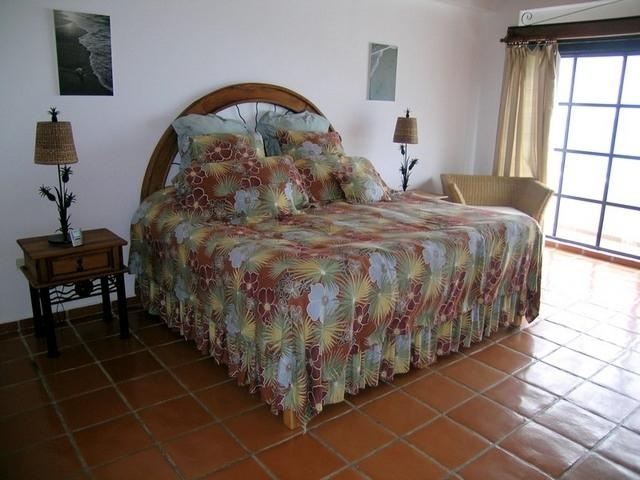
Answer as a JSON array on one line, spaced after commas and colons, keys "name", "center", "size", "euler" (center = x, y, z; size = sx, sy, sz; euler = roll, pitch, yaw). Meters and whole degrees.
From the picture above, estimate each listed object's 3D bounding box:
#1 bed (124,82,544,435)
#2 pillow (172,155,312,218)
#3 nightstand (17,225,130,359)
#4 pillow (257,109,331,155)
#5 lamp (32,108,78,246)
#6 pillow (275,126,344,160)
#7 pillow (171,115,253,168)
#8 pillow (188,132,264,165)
[{"name": "bed", "center": [-0.144, 0.045, 3.385], "size": [1.963, 1.521, 1.932], "euler": [-14, 21, -39]}, {"name": "pillow", "center": [-0.582, -0.370, 3.383], "size": [0.793, 0.504, 0.220], "euler": [-12, -22, -21]}, {"name": "nightstand", "center": [-1.756, 0.381, 3.456], "size": [0.635, 0.759, 0.576], "euler": [-10, 14, -43]}, {"name": "pillow", "center": [-0.255, -1.026, 4.307], "size": [0.504, 0.458, 0.163], "euler": [-15, -17, -20]}, {"name": "lamp", "center": [-1.856, -0.472, 3.332], "size": [0.266, 0.897, 0.516], "euler": [-11, 21, -30]}, {"name": "pillow", "center": [-0.088, -0.851, 4.073], "size": [0.448, 0.139, 0.295], "euler": [-8, 57, -23]}, {"name": "pillow", "center": [-0.959, -0.919, 3.836], "size": [0.440, 0.141, 0.506], "euler": [-14, 41, -25]}, {"name": "pillow", "center": [-0.735, -0.726, 3.655], "size": [0.486, 0.127, 0.300], "euler": [-6, 51, -29]}]
